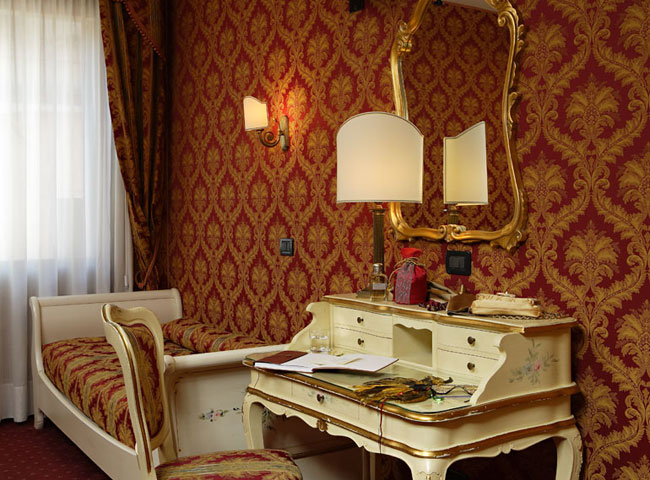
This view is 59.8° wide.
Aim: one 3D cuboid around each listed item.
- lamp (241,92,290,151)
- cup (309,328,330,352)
[{"bbox_3d":[-0.421,-0.793,3.821,0.183,0.366,0.389,-2,4,-40],"label":"lamp"},{"bbox_3d":[-0.030,0.502,2.813,0.086,0.107,0.086,1,-3,0],"label":"cup"}]
